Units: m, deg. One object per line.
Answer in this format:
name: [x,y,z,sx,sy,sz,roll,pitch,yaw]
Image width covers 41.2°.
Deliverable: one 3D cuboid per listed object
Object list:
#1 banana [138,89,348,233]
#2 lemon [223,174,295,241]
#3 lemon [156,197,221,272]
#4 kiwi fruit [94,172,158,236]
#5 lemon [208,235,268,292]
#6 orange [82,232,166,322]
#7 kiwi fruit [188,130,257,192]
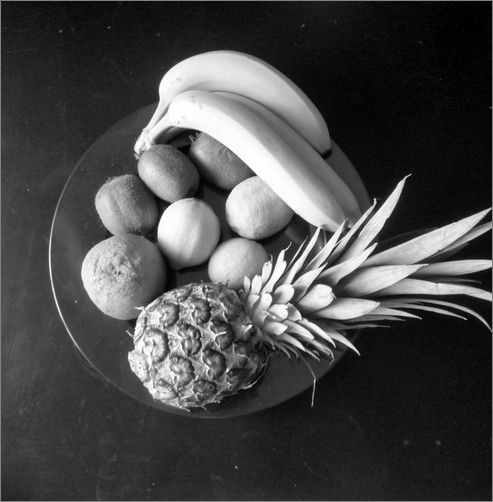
banana: [0.022,-0.185,1.296,0.506,0.167,0.157,36,66,7]
lemon: [0.024,-0.078,1.283,0.131,0.101,0.103,-14,80,-12]
lemon: [-0.110,-0.033,1.216,0.103,0.070,0.128,9,94,-4]
kiwi fruit: [-0.225,-0.084,1.224,0.092,0.068,0.125,-8,91,-7]
lemon: [-0.014,0.023,1.214,0.097,0.055,0.088,-12,95,3]
orange: [-0.231,0.041,1.264,0.141,0.145,0.152,-1,106,-37]
kiwi fruit: [-0.054,-0.170,1.265,0.119,0.088,0.066,42,67,-5]
